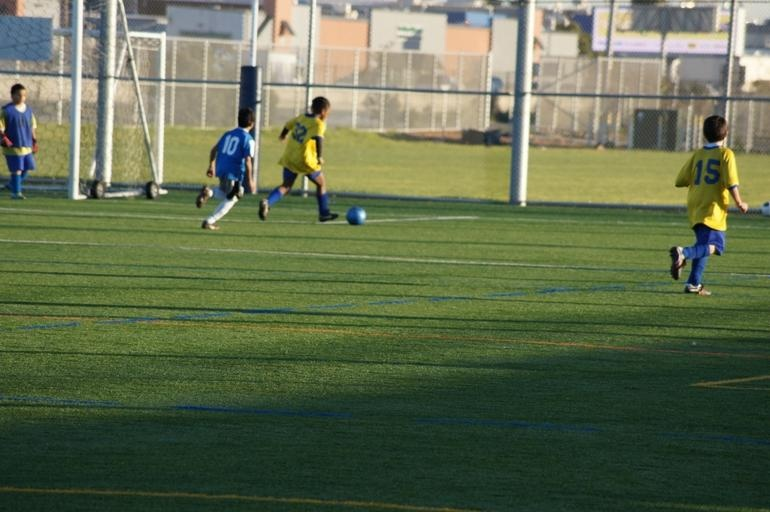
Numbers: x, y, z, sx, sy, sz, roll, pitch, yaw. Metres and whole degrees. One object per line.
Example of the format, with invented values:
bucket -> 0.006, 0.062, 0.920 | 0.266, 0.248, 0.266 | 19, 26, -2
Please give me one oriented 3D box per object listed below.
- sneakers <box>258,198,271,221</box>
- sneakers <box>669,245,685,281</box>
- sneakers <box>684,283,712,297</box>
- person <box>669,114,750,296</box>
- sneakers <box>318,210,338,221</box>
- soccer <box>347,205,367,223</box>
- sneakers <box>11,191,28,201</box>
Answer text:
sneakers -> -2.221, -0.853, 34.195 | 0.186, 0.373, 0.266 | 13, 8, 0
sneakers -> 4.851, 0.111, 30.958 | 0.320, 0.560, 0.221 | 11, -3, -22
sneakers -> 5.236, 0.568, 31.061 | 0.464, 0.190, 0.178 | 2, 13, -12
person -> 5.397, -0.834, 31.011 | 1.078, 2.950, 0.805 | 4, 9, 5
sneakers -> -0.991, -0.718, 34.740 | 0.456, 0.185, 0.142 | -5, 26, -5
soccer -> -0.543, -0.765, 35.372 | 0.342, 0.359, 0.435 | 3, 9, -3
sneakers -> -7.310, -1.215, 37.255 | 0.349, 0.131, 0.110 | 3, 43, -2
